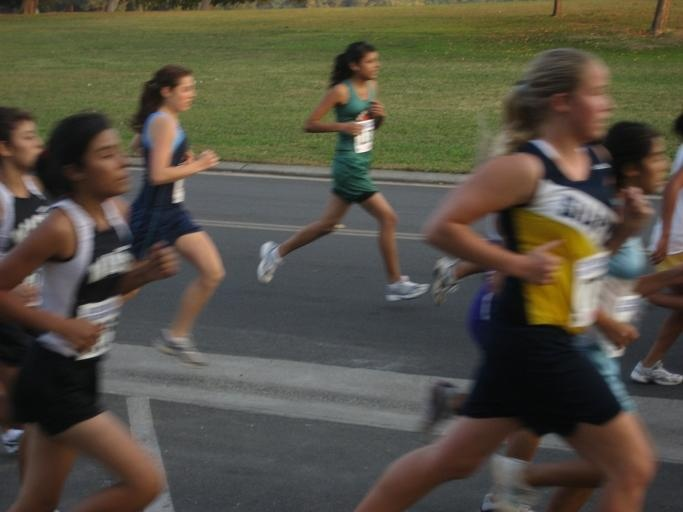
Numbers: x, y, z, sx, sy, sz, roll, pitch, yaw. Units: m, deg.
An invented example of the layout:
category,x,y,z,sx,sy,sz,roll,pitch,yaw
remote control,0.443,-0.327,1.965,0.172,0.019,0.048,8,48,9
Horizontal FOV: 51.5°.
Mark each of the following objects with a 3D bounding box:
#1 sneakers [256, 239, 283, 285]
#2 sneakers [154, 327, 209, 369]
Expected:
category,x,y,z,sx,sy,sz,roll,pitch,yaw
sneakers,-0.649,0.044,6.715,0.229,0.448,0.177,2,-23,44
sneakers,-1.170,0.687,5.147,0.425,0.163,0.123,21,32,-11
